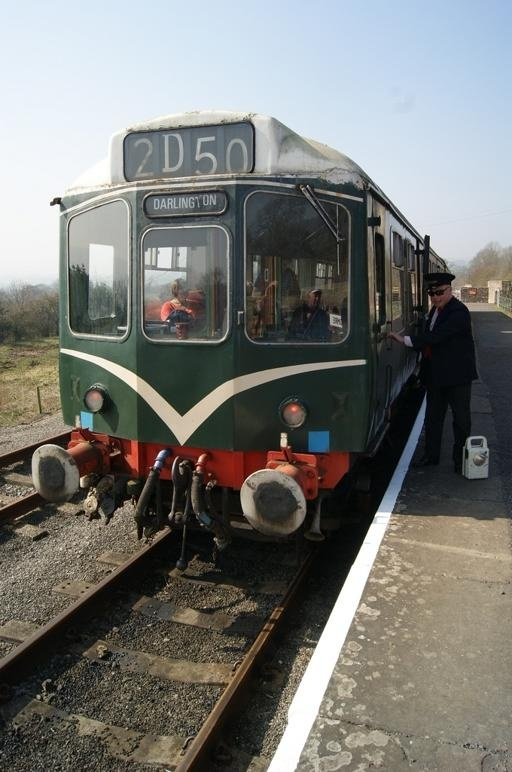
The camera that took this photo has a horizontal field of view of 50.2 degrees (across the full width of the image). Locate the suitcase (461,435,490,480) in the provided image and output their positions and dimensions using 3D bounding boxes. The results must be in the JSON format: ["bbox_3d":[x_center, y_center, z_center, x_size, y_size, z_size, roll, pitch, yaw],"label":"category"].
[{"bbox_3d":[1.993,0.642,4.986,0.222,0.426,0.317,-1,5,22],"label":"suitcase"}]
